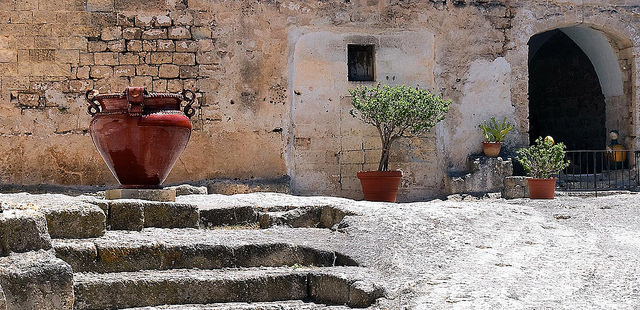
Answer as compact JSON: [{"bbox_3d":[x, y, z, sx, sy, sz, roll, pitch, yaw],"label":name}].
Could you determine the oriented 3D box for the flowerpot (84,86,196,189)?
[{"bbox_3d":[-3.396,-0.282,21.522,2.005,1.677,1.954,5,-6,-41],"label":"flowerpot"}]

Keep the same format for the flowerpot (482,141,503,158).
[{"bbox_3d":[3.660,-0.124,24.426,0.363,0.221,0.339,1,-4,0],"label":"flowerpot"}]

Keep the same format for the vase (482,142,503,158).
[{"bbox_3d":[3.655,-0.118,24.418,0.340,0.206,0.316,1,-5,-1],"label":"vase"}]

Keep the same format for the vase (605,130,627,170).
[{"bbox_3d":[6.581,-0.041,25.463,0.507,1.002,0.349,-5,2,24],"label":"vase"}]

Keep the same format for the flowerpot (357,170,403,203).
[{"bbox_3d":[1.240,0.653,23.318,0.757,0.485,0.717,2,-4,-25],"label":"flowerpot"}]

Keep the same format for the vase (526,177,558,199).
[{"bbox_3d":[4.502,0.674,23.199,0.499,0.276,0.465,1,-6,-1],"label":"vase"}]

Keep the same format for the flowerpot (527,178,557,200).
[{"bbox_3d":[4.530,0.676,23.424,0.681,0.405,0.633,2,10,23],"label":"flowerpot"}]

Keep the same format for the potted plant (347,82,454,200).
[{"bbox_3d":[1.546,-0.312,23.812,2.047,2.504,1.110,2,-1,1],"label":"potted plant"}]
